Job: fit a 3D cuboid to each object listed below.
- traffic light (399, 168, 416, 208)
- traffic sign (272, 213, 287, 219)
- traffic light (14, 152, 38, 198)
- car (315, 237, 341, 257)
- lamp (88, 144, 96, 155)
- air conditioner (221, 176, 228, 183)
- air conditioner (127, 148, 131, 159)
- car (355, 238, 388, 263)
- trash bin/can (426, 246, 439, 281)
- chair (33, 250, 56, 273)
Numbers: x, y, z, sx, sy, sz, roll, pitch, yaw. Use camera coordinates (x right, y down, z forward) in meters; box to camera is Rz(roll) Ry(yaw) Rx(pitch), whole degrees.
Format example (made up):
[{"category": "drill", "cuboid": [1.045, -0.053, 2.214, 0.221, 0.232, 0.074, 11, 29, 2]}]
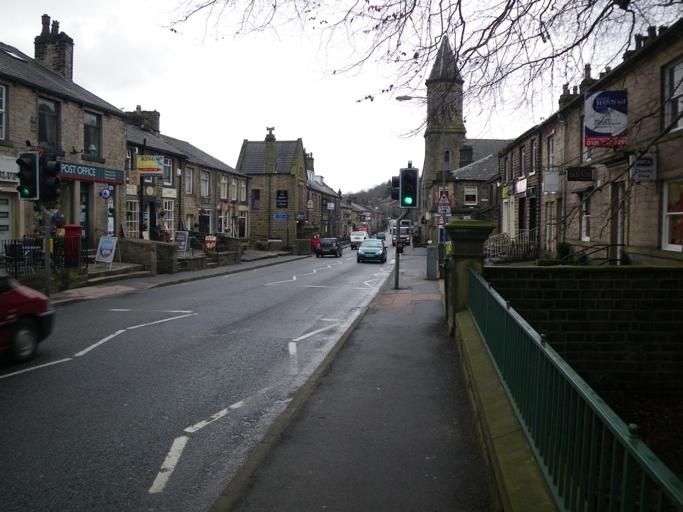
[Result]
[{"category": "traffic light", "cuboid": [2.073, -2.082, 19.934, 0.597, 1.230, 0.518, -2, 8, -10]}, {"category": "traffic sign", "cuboid": [-5.465, -3.597, 58.927, 1.319, 0.537, 0.388, 2, 9, 22]}, {"category": "traffic light", "cuboid": [-8.015, -2.067, 16.796, 0.532, 1.233, 0.469, -5, 9, -28]}, {"category": "car", "cuboid": [-0.910, -0.567, 49.841, 1.592, 1.485, 2.393, 0, 9, 8]}, {"category": "lamp", "cuboid": [-10.309, -4.423, 27.204, 0.315, 0.557, 0.331, 7, 12, 35]}, {"category": "air conditioner", "cuboid": [-8.471, -5.507, 47.294, 0.313, 0.638, 0.608, -2, 0, 3]}, {"category": "air conditioner", "cuboid": [-10.802, -5.247, 33.362, 0.131, 0.604, 0.406, -1, 8, 4]}, {"category": "car", "cuboid": [1.966, -0.203, 41.915, 1.821, 1.287, 3.262, -1, 9, 1]}, {"category": "trash bin/can", "cuboid": [3.560, 0.230, 25.510, 0.468, 1.180, 0.835, 0, 8, 9]}, {"category": "chair", "cuboid": [-8.716, 0.103, 19.207, 0.434, 0.565, 0.479, 0, 7, -13]}]
